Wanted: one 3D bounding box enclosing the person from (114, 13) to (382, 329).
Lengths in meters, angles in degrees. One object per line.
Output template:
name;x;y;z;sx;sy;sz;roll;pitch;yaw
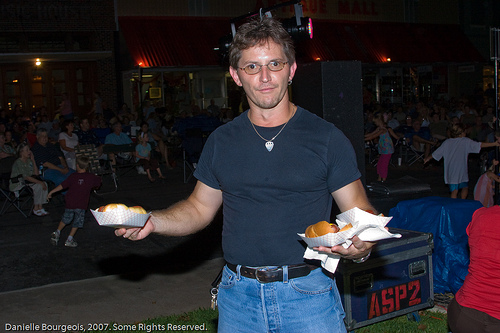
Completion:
person;0.114;0.059;2.150;1.269;1.974;0.547;1;10;21

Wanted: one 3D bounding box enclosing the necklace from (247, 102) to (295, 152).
necklace;0.126;-0.245;2.230;0.316;0.268;0.294;-1;9;6

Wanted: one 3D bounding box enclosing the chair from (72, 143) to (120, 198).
chair;-5.444;0.269;13.101;1.502;2.007;1.359;2;18;16

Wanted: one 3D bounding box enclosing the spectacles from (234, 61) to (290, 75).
spectacles;0.086;-0.612;2.162;0.268;0.077;0.045;-2;9;3

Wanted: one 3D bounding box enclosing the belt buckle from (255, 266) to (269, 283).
belt buckle;0.072;0.648;2.080;0.081;0.096;0.039;-2;9;1

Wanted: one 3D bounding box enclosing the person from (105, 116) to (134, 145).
person;-5.539;-1.401;14.569;1.083;1.006;0.648;-3;-11;-27

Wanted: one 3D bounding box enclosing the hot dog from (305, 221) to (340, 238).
hot dog;0.380;0.335;1.818;0.180;0.094;0.127;-1;9;9
